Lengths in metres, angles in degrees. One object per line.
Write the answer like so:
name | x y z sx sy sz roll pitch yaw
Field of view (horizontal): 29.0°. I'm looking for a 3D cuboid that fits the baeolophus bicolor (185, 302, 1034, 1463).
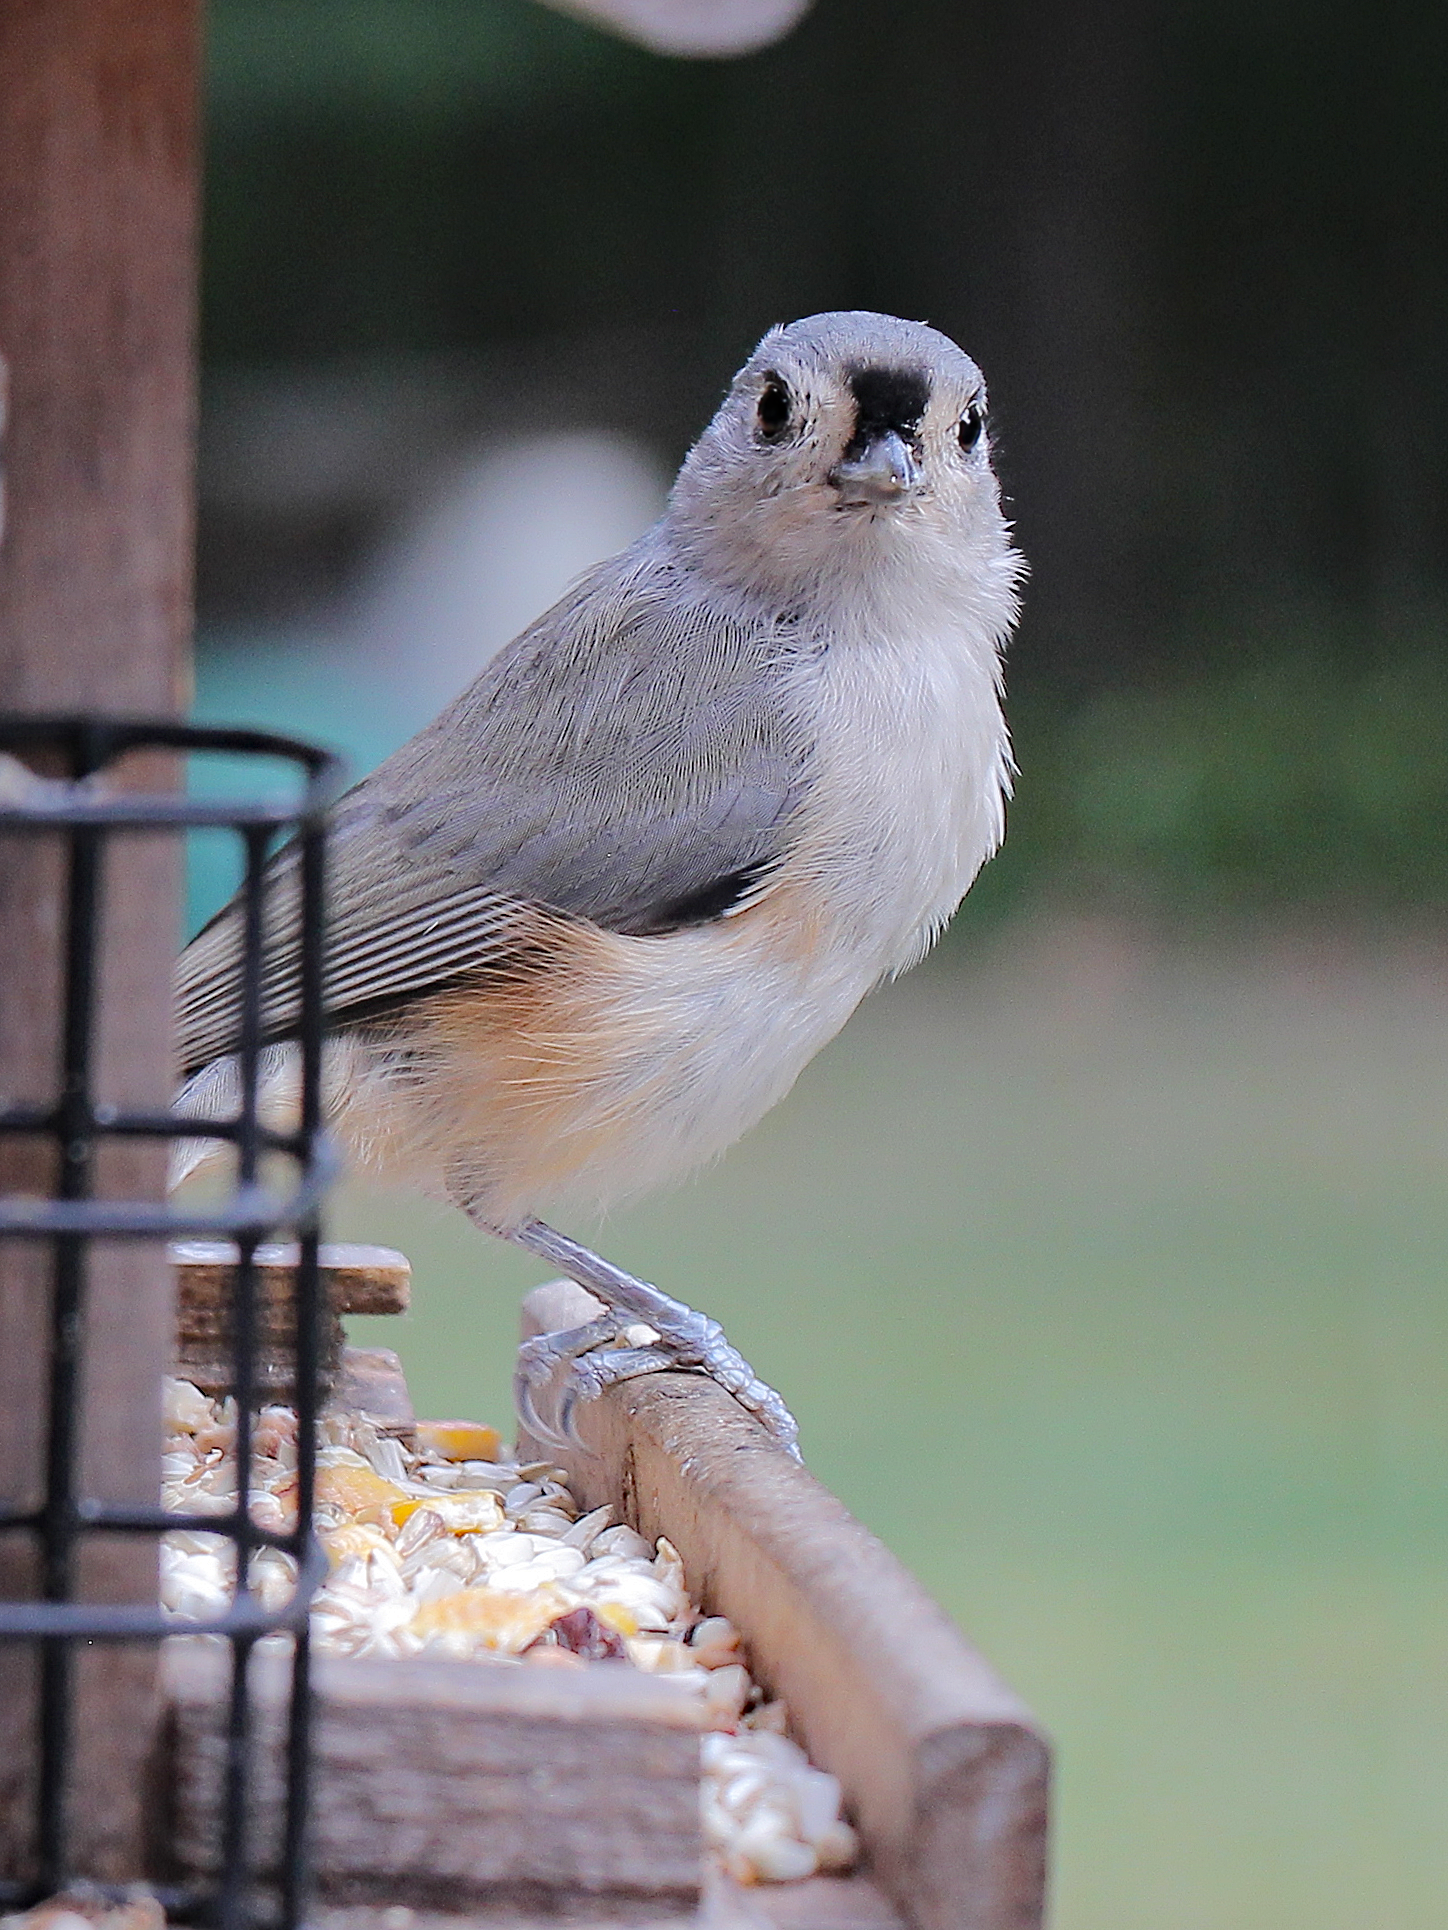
baeolophus bicolor | -0.006 -0.045 2.705 1.128 1.173 0.647 2 -13 0
